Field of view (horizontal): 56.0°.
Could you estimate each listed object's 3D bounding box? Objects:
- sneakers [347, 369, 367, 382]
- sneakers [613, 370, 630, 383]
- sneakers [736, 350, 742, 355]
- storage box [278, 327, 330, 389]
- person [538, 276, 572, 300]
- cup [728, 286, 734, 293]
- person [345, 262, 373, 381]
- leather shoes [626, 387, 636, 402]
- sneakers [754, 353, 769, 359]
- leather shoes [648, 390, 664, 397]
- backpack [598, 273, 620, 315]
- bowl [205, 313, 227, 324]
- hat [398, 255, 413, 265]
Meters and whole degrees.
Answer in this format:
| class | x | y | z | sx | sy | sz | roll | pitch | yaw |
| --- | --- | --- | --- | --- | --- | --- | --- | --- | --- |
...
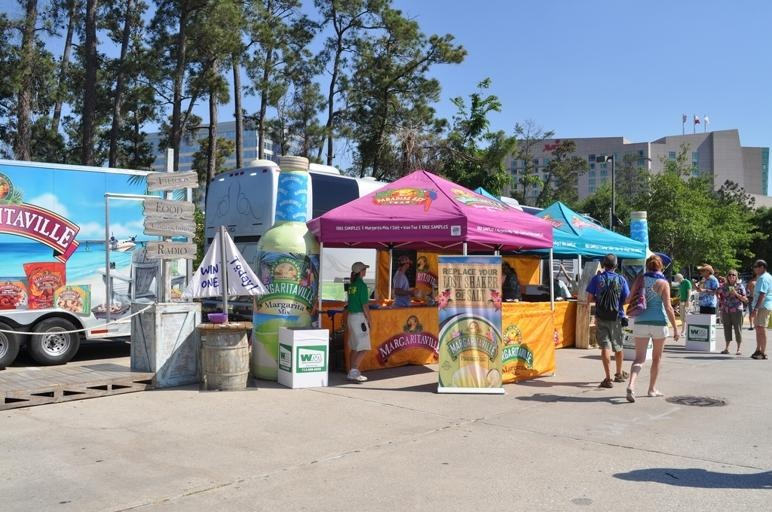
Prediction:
| class | x | y | z | sx | sy | sz | roll | pitch | yaw |
| --- | --- | --- | --- | --- | --- | --- | --- | --- | --- |
| sneakers | -0.578 | 2.521 | 15.370 | 0.208 | 0.197 | 0.411 | 7 | -5 | 40 |
| sneakers | 5.121 | 2.625 | 15.774 | 0.174 | 0.222 | 0.527 | -7 | -13 | 27 |
| sneakers | 9.445 | 2.581 | 19.439 | 0.119 | 0.108 | 0.177 | -19 | -22 | 39 |
| storage box | -1.727 | 2.073 | 15.192 | 1.085 | 1.151 | 1.102 | 1 | -3 | 3 |
| person | 5.051 | 0.960 | 21.635 | 0.675 | 1.181 | 0.643 | 0 | -14 | -9 |
| cup | 9.276 | 0.876 | 19.502 | 0.065 | 0.130 | 0.128 | -10 | -11 | -36 |
| person | -0.575 | 1.386 | 15.319 | 0.479 | 2.487 | 0.532 | 1 | 10 | -3 |
| leather shoes | 4.769 | 2.708 | 14.133 | 0.163 | 0.154 | 0.360 | -2 | -35 | 19 |
| sneakers | 9.676 | 2.566 | 18.773 | 0.429 | 0.166 | 0.144 | 3 | -6 | -1 |
| leather shoes | 5.412 | 2.719 | 14.538 | 0.273 | 0.109 | 0.139 | -2 | 1 | -26 |
| backpack | 4.618 | 0.866 | 15.019 | 0.442 | 0.828 | 0.355 | 4 | 11 | 16 |
| bowl | -3.386 | 1.253 | 14.632 | 0.358 | 0.227 | 0.207 | 1 | 10 | -3 |
| hat | 0.465 | 0.122 | 17.738 | 0.197 | 0.178 | 0.307 | 0 | 16 | 38 |
